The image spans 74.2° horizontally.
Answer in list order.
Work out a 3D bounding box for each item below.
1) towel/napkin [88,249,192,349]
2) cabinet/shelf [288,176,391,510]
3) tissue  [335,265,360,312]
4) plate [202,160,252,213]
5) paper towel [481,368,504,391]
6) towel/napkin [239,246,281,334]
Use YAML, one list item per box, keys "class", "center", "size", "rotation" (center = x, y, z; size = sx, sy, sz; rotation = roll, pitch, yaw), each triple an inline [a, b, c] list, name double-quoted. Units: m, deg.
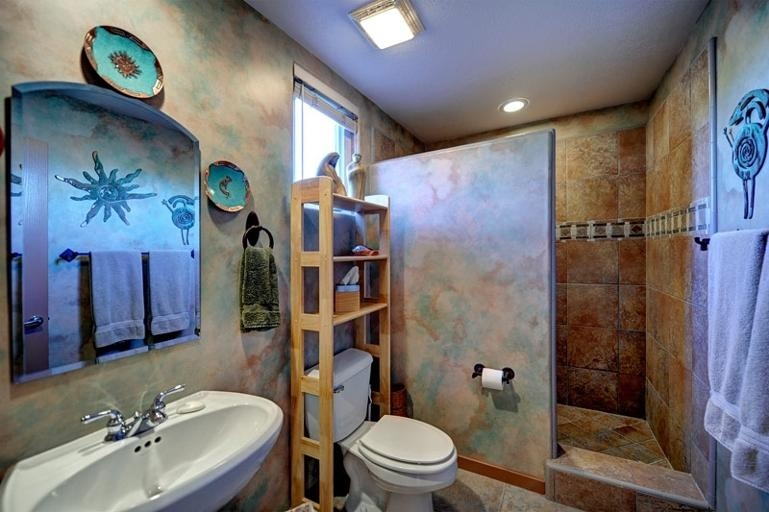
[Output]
- class: "towel/napkin"
  center: [-1.306, 0.223, 2.650]
  size: [0.073, 0.526, 0.520]
  rotation: [2, 4, 44]
- class: "cabinet/shelf"
  center: [-0.286, 0.566, 3.418]
  size: [0.433, 1.989, 0.816]
  rotation: [-4, -1, 31]
- class: "tissue "
  center: [-0.252, 0.232, 3.417]
  size: [0.180, 0.290, 0.165]
  rotation: [0, -7, -14]
- class: "plate"
  center: [-0.917, -0.398, 2.919]
  size: [0.076, 0.270, 0.262]
  rotation: [0, 22, 36]
- class: "paper towel"
  center: [0.730, 0.811, 3.430]
  size: [0.167, 0.156, 0.132]
  rotation: [-1, -5, 22]
- class: "towel/napkin"
  center: [-0.753, 0.187, 3.004]
  size: [0.218, 0.467, 0.071]
  rotation: [-4, -1, -27]
